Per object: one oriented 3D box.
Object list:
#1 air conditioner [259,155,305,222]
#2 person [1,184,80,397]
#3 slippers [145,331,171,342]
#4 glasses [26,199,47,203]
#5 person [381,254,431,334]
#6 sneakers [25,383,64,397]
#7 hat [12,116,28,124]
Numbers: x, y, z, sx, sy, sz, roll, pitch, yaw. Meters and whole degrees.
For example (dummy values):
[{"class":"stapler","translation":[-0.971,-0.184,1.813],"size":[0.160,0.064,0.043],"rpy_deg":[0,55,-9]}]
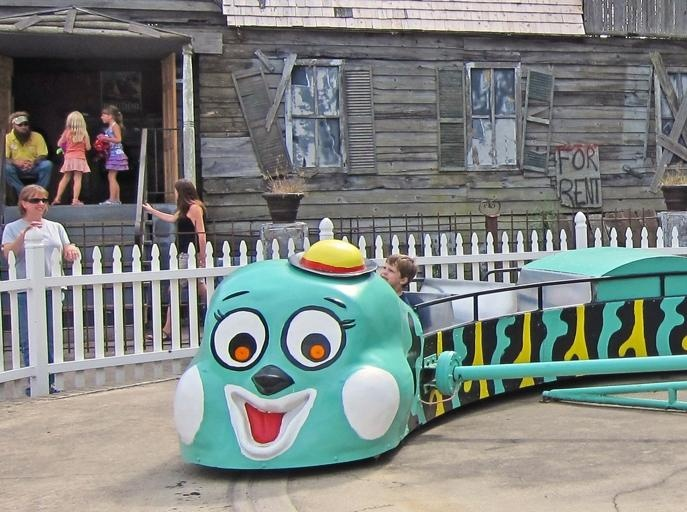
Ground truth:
[{"class":"air conditioner","translation":[-0.885,-0.927,21.987],"size":[0.642,0.909,0.658],"rpy_deg":[1,-5,-31]},{"class":"person","translation":[-3.752,0.420,18.855],"size":[0.907,2.582,0.539],"rpy_deg":[-2,4,-11]},{"class":"slippers","translation":[-2.522,1.119,20.821],"size":[0.420,0.172,0.221],"rpy_deg":[5,-8,-20]},{"class":"glasses","translation":[-3.765,-0.670,18.774],"size":[0.129,0.069,0.316],"rpy_deg":[0,3,24]},{"class":"person","translation":[0.723,0.436,17.714],"size":[0.571,0.882,0.683],"rpy_deg":[-1,3,1]},{"class":"sneakers","translation":[-3.705,1.664,18.720],"size":[0.445,0.121,0.110],"rpy_deg":[-3,3,-20]},{"class":"hat","translation":[-4.876,-2.021,22.769],"size":[0.231,0.136,0.239],"rpy_deg":[-2,3,-16]}]
